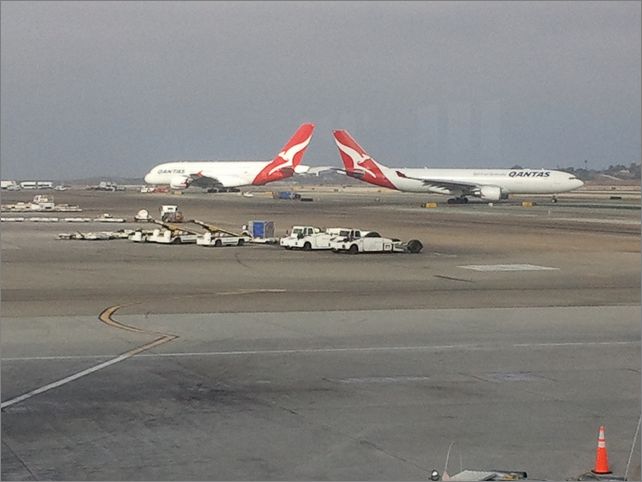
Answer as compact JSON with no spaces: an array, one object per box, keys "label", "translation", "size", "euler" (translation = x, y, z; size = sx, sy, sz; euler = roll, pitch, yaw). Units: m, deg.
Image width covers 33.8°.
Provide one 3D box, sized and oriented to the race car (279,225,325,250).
[{"label":"race car","translation":[-1.066,-0.185,57.797],"size":[1.256,0.871,1.969],"euler":[-1,-1,38]}]
